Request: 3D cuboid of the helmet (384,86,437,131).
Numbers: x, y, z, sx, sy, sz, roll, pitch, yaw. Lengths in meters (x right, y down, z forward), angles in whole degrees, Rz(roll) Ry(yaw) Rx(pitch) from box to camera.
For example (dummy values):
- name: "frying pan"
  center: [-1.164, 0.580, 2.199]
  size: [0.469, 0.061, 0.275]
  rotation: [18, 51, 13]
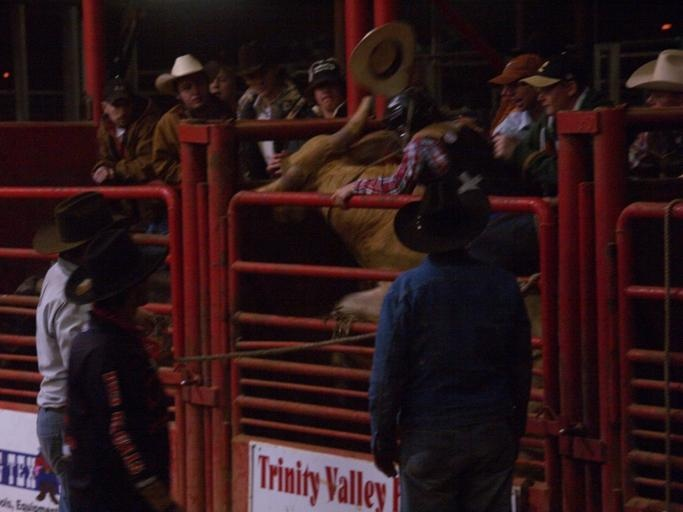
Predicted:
- name: "helmet"
  center: [0.446, -0.949, 6.647]
  size: [0.349, 0.250, 0.307]
  rotation: [4, -19, 2]

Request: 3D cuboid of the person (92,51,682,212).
- name: "person"
  center: [0.326, -0.900, 7.331]
  size: [3.092, 0.685, 1.513]
  rotation: [-6, -45, 12]

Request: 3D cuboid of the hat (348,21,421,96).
- name: "hat"
  center: [0.330, -1.355, 6.838]
  size: [0.247, 0.423, 0.575]
  rotation: [2, 1, 42]

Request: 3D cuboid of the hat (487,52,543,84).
- name: "hat"
  center: [1.377, -1.473, 7.826]
  size: [0.379, 0.168, 0.240]
  rotation: [-9, 3, -21]
